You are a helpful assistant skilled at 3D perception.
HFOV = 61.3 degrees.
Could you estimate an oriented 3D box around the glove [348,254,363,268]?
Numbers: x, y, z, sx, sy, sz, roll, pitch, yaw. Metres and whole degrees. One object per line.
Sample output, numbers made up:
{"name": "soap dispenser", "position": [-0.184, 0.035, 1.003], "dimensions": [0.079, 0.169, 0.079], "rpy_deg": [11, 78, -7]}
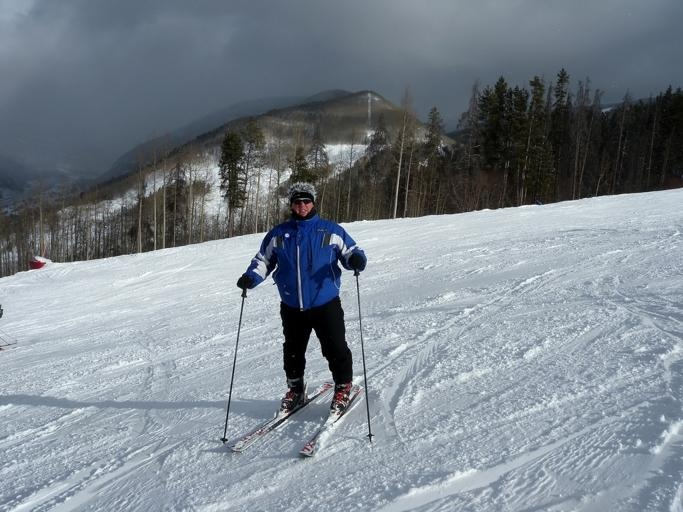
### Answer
{"name": "glove", "position": [0.195, 0.071, 7.351], "dimensions": [0.220, 0.195, 0.221], "rpy_deg": [-6, 9, 1]}

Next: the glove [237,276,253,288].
{"name": "glove", "position": [-1.237, 0.342, 7.505], "dimensions": [0.145, 0.194, 0.184], "rpy_deg": [5, -8, 29]}

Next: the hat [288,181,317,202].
{"name": "hat", "position": [-0.512, -0.824, 7.479], "dimensions": [0.347, 0.280, 0.266], "rpy_deg": [-7, 9, -4]}
